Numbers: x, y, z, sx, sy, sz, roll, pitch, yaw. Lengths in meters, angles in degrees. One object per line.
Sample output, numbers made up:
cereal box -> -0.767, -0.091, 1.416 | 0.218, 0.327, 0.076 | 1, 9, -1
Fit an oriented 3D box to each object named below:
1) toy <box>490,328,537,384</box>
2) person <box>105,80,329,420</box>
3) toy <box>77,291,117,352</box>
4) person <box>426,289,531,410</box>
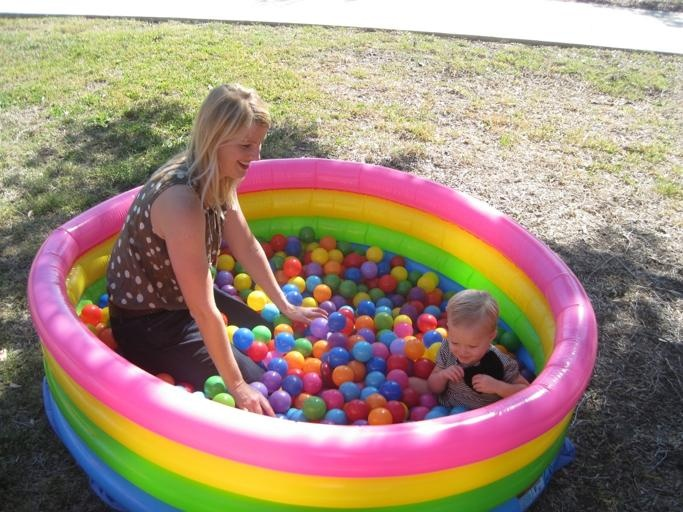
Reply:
toy -> 1.144, 0.663, 3.579 | 0.254, 0.083, 0.265 | 29, 17, -7
person -> -0.678, -0.009, 3.045 | 1.223, 1.640, 1.176 | 5, 25, -12
toy -> -1.601, 0.422, 3.552 | 0.104, 0.349, 0.335 | -47, 44, -5
person -> 0.771, 0.644, 3.193 | 0.586, 0.833, 0.485 | 9, 15, 39
